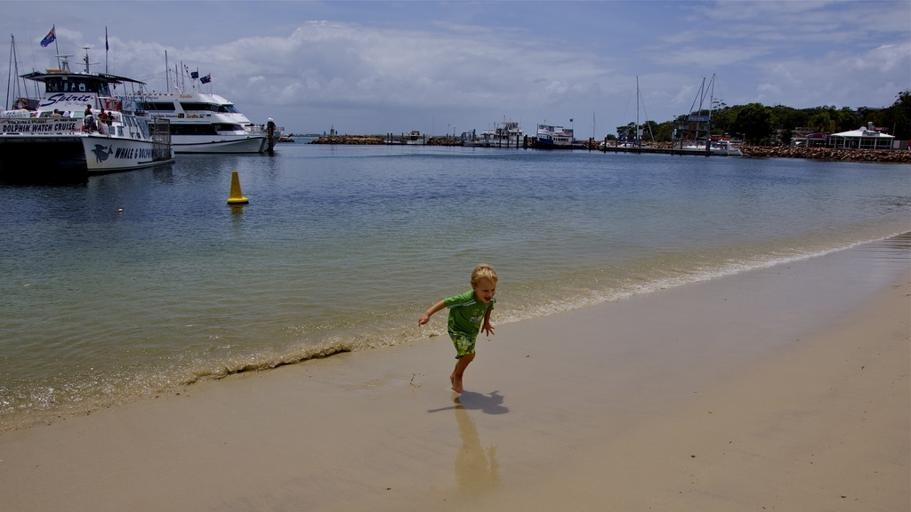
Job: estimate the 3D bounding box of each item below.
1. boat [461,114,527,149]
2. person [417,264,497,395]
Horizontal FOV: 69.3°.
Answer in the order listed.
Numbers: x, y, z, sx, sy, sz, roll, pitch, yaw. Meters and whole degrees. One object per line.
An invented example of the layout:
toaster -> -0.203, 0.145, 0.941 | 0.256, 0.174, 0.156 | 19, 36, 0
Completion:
boat -> 10.737, -29.381, 162.252 | 10.525, 5.787, 25.368 | -6, 14, -26
person -> 0.195, 1.290, 11.678 | 0.823, 2.286, 1.264 | 14, 19, 43
